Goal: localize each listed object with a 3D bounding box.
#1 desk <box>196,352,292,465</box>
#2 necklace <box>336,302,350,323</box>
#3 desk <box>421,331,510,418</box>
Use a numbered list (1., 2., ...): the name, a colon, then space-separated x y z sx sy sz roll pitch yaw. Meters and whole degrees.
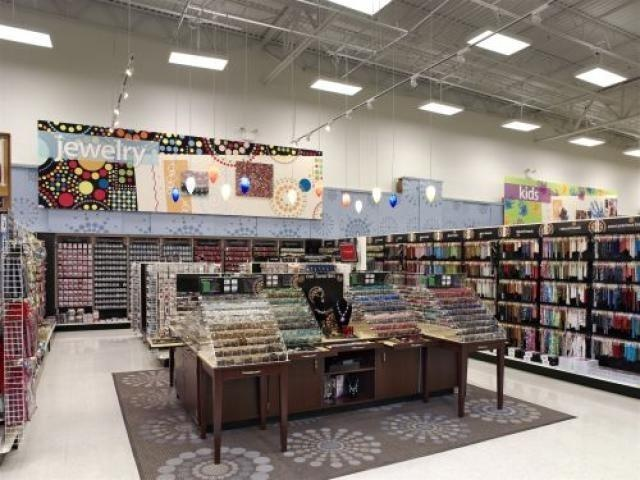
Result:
1. desk: -1.097 2.355 6.954 1.301 1.359 1.214 0 -6 -23
2. necklace: 0.368 1.159 7.974 0.205 0.307 0.069 5 -6 9
3. desk: 2.389 2.163 8.215 1.209 1.139 1.005 3 -3 -26
